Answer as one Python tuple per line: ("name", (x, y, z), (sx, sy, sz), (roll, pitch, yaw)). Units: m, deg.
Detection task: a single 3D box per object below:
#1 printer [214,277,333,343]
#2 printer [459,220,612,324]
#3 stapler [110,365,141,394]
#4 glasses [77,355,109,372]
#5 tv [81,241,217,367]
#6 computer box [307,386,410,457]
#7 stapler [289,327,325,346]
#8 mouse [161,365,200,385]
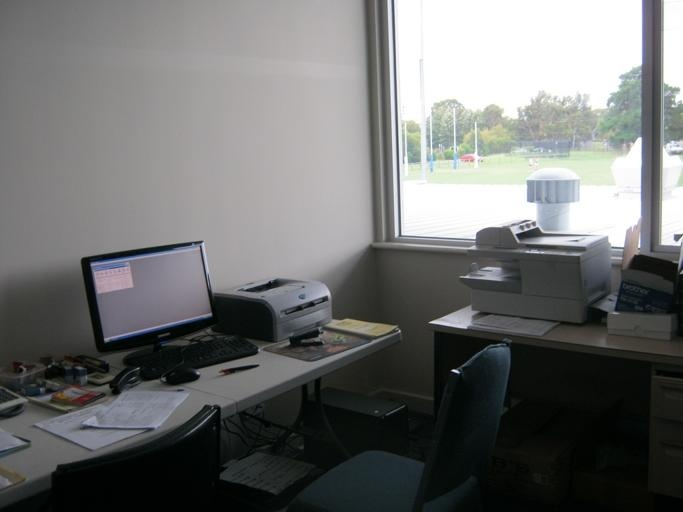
("printer", (-0.358, 0.189, 2.640), (0.344, 0.177, 0.372), (7, 13, 32))
("printer", (1.025, 0.052, 2.909), (0.633, 0.458, 0.540), (6, 13, 35))
("stapler", (-0.842, 0.486, 2.141), (0.043, 0.052, 0.132), (3, 17, 14))
("glasses", (-1.037, 0.446, 2.286), (0.128, 0.034, 0.071), (13, 17, 25))
("tv", (-0.857, 0.217, 2.371), (0.115, 0.365, 0.501), (-4, 5, 44))
("computer box", (0.086, 0.761, 2.889), (0.575, 0.401, 0.322), (4, 9, 31))
("stapler", (-0.163, 0.363, 2.494), (0.115, 0.056, 0.081), (-7, 0, -4))
("mouse", (-0.653, 0.472, 2.171), (0.120, 0.043, 0.070), (-1, 2, -13))
